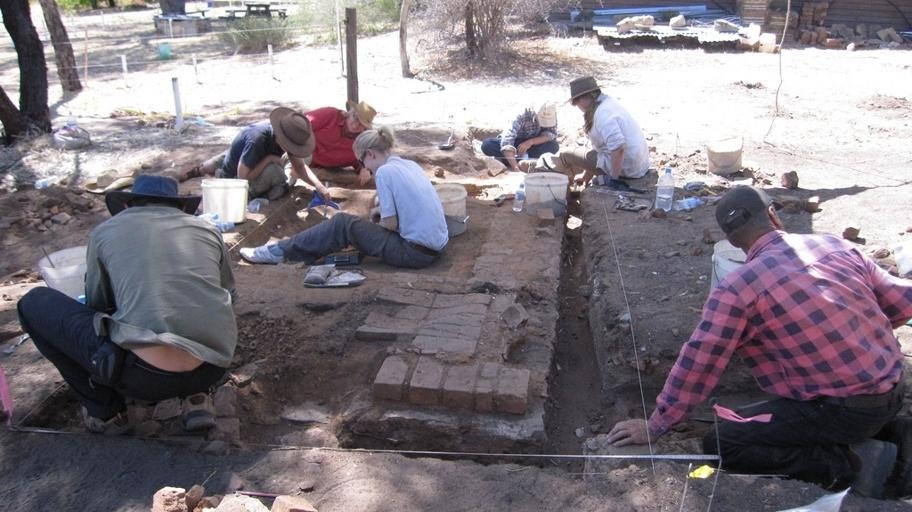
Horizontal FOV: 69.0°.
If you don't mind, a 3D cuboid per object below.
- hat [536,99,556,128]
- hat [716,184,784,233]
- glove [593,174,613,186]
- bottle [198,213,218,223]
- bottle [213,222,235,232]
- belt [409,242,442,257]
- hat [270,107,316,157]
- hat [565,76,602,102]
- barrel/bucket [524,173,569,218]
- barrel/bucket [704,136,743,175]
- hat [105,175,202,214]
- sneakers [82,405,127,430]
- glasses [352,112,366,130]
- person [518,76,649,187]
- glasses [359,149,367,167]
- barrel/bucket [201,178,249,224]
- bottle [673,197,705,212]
[{"bbox_3d":[1.424,-2.251,10.486,0.333,0.157,0.387,0,54,0],"label":"hat"},{"bbox_3d":[2.561,-0.446,5.877,0.492,0.425,0.389,-43,30,-26],"label":"hat"},{"bbox_3d":[2.016,-1.040,9.161,0.186,0.065,0.201,5,20,13],"label":"glove"},{"bbox_3d":[-2.877,-0.440,7.717,0.258,0.096,0.304,2,9,-3],"label":"bottle"},{"bbox_3d":[-2.862,-0.357,8.227,0.205,0.075,0.223,1,7,0],"label":"bottle"},{"bbox_3d":[-0.354,-0.080,7.687,0.407,0.213,0.119,-10,26,-17],"label":"belt"},{"bbox_3d":[-2.110,-1.618,8.602,0.270,0.619,0.622,-27,-8,42],"label":"hat"},{"bbox_3d":[1.816,-2.259,9.042,0.489,0.163,0.401,-21,9,-12],"label":"hat"},{"bbox_3d":[1.132,-0.782,8.518,0.696,0.408,0.588,0,13,0],"label":"barrel/bucket"},{"bbox_3d":[3.853,-1.427,9.516,0.680,0.560,0.644,-4,12,1],"label":"barrel/bucket"},{"bbox_3d":[-3.107,-0.619,6.834,0.929,0.294,0.852,1,4,-11],"label":"hat"},{"bbox_3d":[-3.235,1.508,6.177,0.355,0.163,0.246,1,18,7],"label":"sneakers"},{"bbox_3d":[-1.365,-1.879,9.364,0.065,0.178,0.207,-50,14,-8],"label":"glasses"},{"bbox_3d":[1.992,-1.723,9.292,0.627,1.544,1.229,-22,30,-32],"label":"person"},{"bbox_3d":[-1.074,-1.131,7.656,0.073,0.190,0.166,-12,26,-16],"label":"glasses"},{"bbox_3d":[-2.826,-0.709,8.475,0.676,0.487,0.593,1,6,-1],"label":"barrel/bucket"},{"bbox_3d":[2.926,-0.660,8.402,0.296,0.080,0.206,-7,7,-31],"label":"bottle"}]
